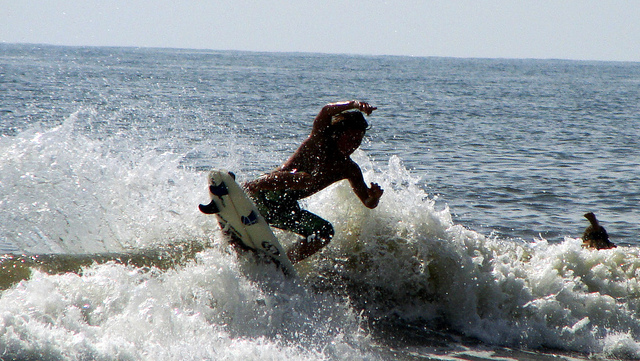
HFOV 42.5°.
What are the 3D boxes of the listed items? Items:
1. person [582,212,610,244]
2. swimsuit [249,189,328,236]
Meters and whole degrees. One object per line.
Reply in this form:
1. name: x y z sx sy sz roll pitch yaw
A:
1. person: 7.133 1.316 21.472 0.393 1.074 0.536 -30 -8 10
2. swimsuit: -0.720 0.688 19.851 1.770 0.967 0.430 -3 13 6
